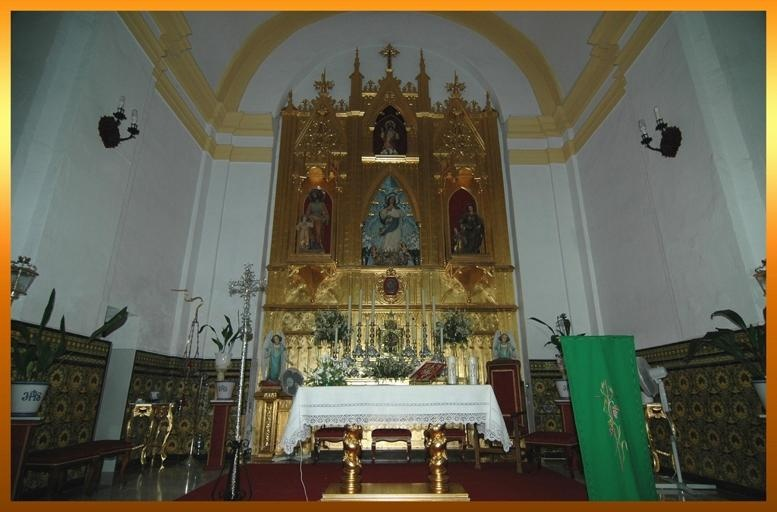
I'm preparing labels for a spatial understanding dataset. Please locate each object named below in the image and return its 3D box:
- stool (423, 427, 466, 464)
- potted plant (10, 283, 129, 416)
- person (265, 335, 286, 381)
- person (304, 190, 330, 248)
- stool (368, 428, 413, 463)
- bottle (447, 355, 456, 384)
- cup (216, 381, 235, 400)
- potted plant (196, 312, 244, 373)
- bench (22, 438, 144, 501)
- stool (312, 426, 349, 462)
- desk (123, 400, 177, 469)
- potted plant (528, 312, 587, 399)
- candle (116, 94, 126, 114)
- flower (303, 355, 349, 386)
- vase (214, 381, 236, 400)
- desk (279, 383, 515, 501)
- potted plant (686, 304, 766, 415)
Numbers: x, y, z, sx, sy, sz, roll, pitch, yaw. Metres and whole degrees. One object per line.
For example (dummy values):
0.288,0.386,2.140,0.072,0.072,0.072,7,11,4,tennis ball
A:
0.922,2.976,7.424,0.464,0.483,0.642,8,-13,-26,stool
-4.398,1.183,5.883,0.836,1.678,1.439,-1,-19,1,potted plant
-2.057,1.865,8.380,0.350,0.917,0.436,6,-20,-18,person
-1.518,-0.774,9.871,0.586,1.512,0.261,4,-20,-13,person
0.052,3.087,7.600,0.667,0.494,0.483,1,-5,-5,stool
0.814,1.458,5.831,0.101,0.343,0.210,-2,-19,3,bottle
-2.787,2.297,7.833,0.270,0.295,0.305,0,-12,-3,cup
-2.953,1.696,8.380,0.760,0.966,1.024,9,-13,-39,potted plant
-4.019,2.757,5.911,0.531,0.625,1.244,-4,-20,9,bench
-0.950,3.100,7.597,0.620,0.438,0.491,-1,-13,-8,stool
-3.988,2.932,7.664,0.869,0.954,0.860,-13,-14,40,desk
3.386,1.808,8.755,1.161,1.402,0.771,-6,13,-21,potted plant
-4.424,-2.509,7.583,0.137,0.241,0.072,2,21,-43,candle
-0.914,1.703,6.754,0.683,0.543,0.669,11,-24,-30,flower
-2.787,2.305,7.820,0.279,0.269,0.331,2,-7,-13,vase
0.080,2.171,5.357,2.500,1.268,0.594,-2,-19,4,desk
4.482,1.323,5.899,0.956,1.327,0.741,16,-25,-39,potted plant
